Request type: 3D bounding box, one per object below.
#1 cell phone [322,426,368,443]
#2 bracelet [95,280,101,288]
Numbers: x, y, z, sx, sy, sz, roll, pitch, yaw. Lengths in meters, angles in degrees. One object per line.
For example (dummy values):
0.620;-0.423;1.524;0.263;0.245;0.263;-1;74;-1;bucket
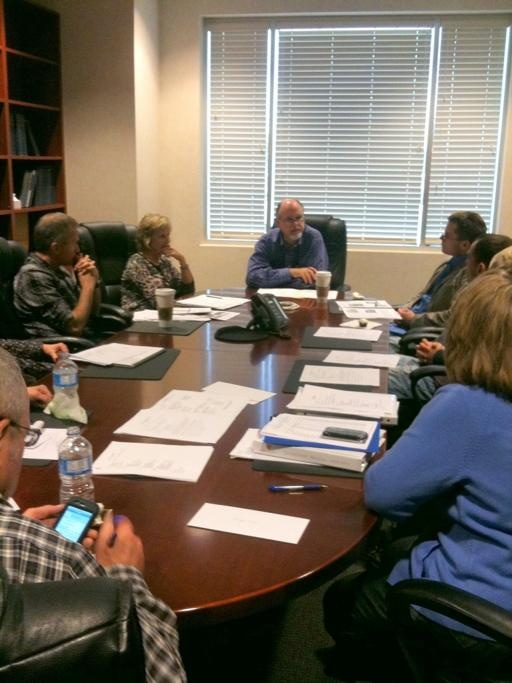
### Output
0.197;0.203;1.245;0.067;0.014;0.038;4;15;17;cell phone
-0.922;-0.332;3.290;0.043;0.047;0.052;0;6;-4;bracelet
